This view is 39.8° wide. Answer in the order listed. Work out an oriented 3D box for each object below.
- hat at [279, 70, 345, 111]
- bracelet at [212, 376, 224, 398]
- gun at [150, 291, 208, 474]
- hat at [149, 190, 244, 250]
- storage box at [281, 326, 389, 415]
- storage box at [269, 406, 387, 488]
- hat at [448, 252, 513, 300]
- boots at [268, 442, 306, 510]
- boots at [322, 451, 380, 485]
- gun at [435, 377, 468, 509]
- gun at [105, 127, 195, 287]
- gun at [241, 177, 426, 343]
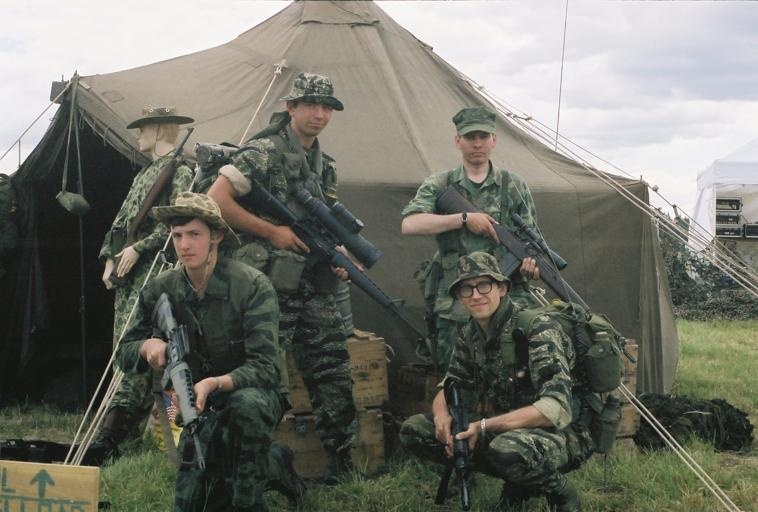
[{"bbox_3d":[-0.727,-1.784,11.250,0.709,0.361,0.514,1,7,-28],"label":"hat"},{"bbox_3d":[-1.517,1.258,9.950,0.118,0.149,0.141,5,20,-5],"label":"bracelet"},{"bbox_3d":[-1.893,1.155,10.037,0.268,2.054,0.973,-3,-29,-23],"label":"gun"},{"bbox_3d":[-1.703,-0.260,10.093,0.560,0.189,0.616,-8,-35,46],"label":"hat"},{"bbox_3d":[-0.604,1.402,12.220,1.072,0.765,1.111,-2,-5,2],"label":"storage box"},{"bbox_3d":[-0.538,2.331,11.891,1.277,0.674,0.893,-7,-28,6],"label":"storage box"},{"bbox_3d":[1.012,0.229,10.381,0.495,0.268,0.446,-11,-10,10],"label":"hat"},{"bbox_3d":[-0.821,2.226,10.695,0.248,0.406,0.779,-12,-36,22],"label":"boots"},{"bbox_3d":[-0.381,2.239,11.328,0.387,0.251,0.404,-7,10,-15],"label":"boots"},{"bbox_3d":[0.733,1.859,10.408,0.131,1.287,0.526,8,-16,-23],"label":"gun"},{"bbox_3d":[-2.567,-0.554,11.900,0.412,2.144,0.205,23,-10,46],"label":"gun"},{"bbox_3d":[-0.527,0.113,11.454,2.626,1.020,0.295,42,-10,-5],"label":"gun"}]
